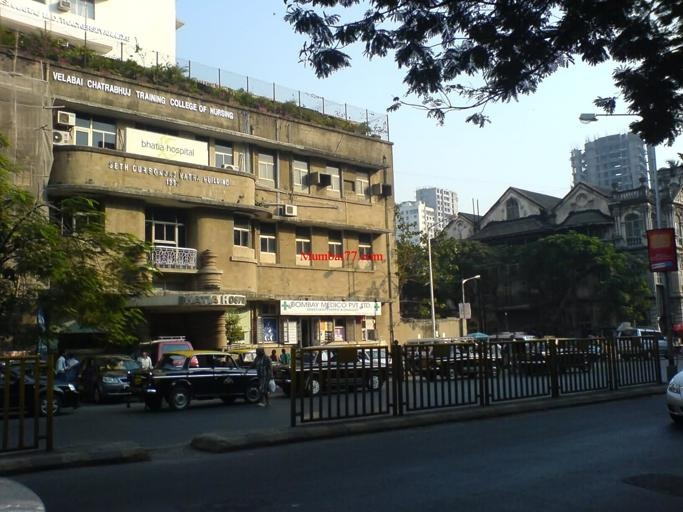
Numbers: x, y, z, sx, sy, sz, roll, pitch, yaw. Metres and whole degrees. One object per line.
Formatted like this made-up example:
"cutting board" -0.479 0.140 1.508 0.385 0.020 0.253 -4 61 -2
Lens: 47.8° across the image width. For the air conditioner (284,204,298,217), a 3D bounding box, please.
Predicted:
"air conditioner" -2.909 -2.550 43.383 0.597 0.665 1.339 -4 -10 7
